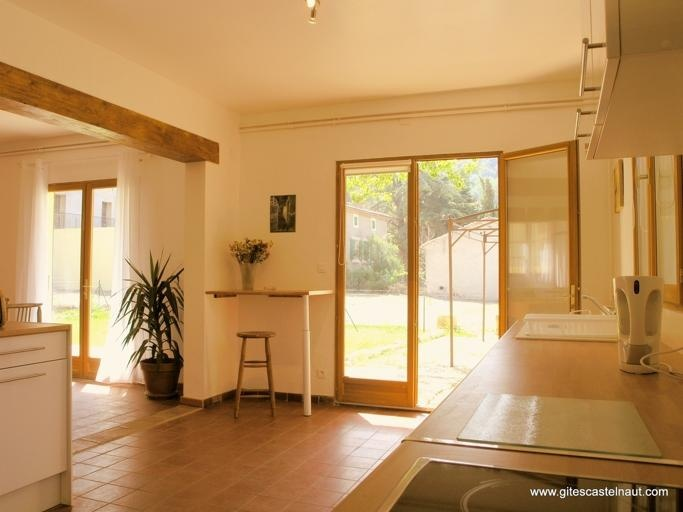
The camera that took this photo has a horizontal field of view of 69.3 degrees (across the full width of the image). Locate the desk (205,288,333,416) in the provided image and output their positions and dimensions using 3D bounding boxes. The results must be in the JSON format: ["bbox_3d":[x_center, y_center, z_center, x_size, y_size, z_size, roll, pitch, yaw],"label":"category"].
[{"bbox_3d":[-0.772,0.677,5.141,1.524,1.535,1.053,0,-2,-4],"label":"desk"}]

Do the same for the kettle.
[{"bbox_3d":[0.962,0.216,1.599,0.133,0.326,0.261,-1,0,30],"label":"kettle"}]

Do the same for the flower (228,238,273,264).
[{"bbox_3d":[-0.967,-0.028,5.226,0.311,0.230,0.322,-4,-6,20],"label":"flower"}]

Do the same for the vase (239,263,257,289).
[{"bbox_3d":[-0.977,0.207,5.177,0.152,0.285,0.203,-1,0,-12],"label":"vase"}]

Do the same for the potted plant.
[{"bbox_3d":[-2.105,0.748,5.447,0.725,1.560,1.192,0,0,-25],"label":"potted plant"}]
